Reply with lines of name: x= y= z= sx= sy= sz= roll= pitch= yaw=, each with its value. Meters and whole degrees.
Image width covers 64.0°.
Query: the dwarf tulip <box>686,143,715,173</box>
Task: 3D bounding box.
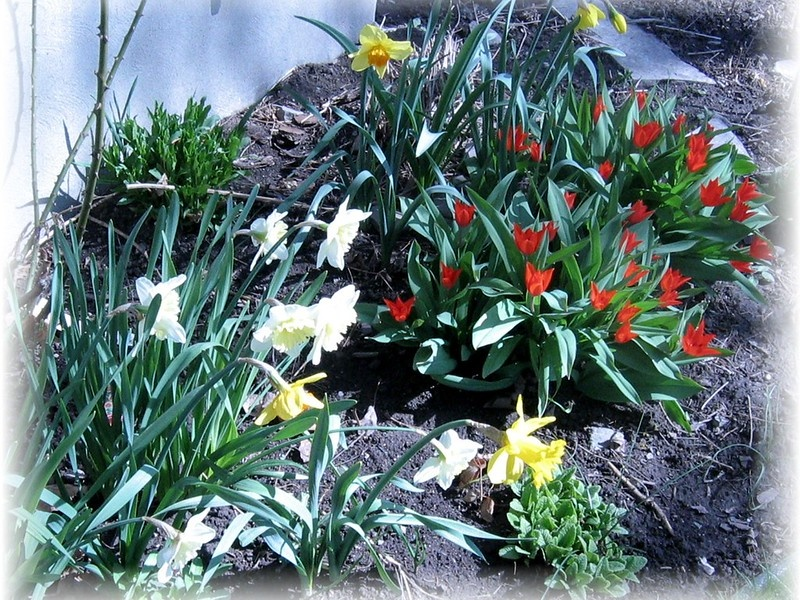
dwarf tulip: x=1.385 y=-0.662 z=2.990 sx=0.079 sy=0.127 sz=0.087 roll=11 pitch=18 yaw=26

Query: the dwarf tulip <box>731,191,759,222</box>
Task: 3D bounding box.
dwarf tulip: x=1.593 y=-0.428 z=2.953 sx=0.077 sy=0.120 sz=0.194 roll=17 pitch=22 yaw=41

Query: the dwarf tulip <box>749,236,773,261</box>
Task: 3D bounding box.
dwarf tulip: x=1.658 y=-0.233 z=2.935 sx=0.099 sy=0.106 sz=0.110 roll=15 pitch=20 yaw=35

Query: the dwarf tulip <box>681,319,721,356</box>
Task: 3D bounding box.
dwarf tulip: x=1.214 y=0.141 z=2.585 sx=0.137 sy=0.095 sz=0.157 roll=26 pitch=41 yaw=10
